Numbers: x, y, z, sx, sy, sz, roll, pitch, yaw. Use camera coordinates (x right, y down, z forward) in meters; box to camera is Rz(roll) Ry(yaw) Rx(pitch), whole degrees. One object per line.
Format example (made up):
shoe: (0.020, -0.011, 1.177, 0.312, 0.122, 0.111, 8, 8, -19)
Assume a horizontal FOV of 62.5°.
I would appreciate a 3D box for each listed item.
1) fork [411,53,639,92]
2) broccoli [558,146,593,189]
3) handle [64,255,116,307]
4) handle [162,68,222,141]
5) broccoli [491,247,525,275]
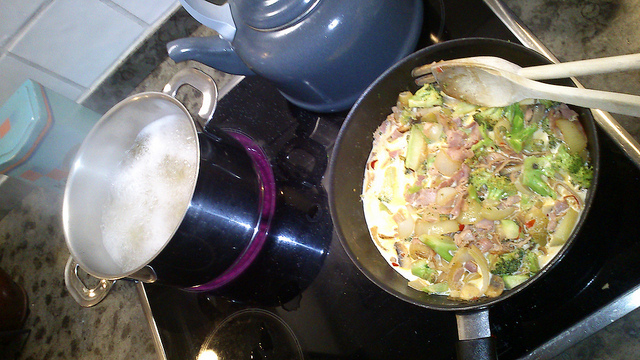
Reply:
fork: (0.511, -0.267, 1.309, 0.466, 0.053, 0.088, 6, 43, 31)
broccoli: (0.639, -0.029, 1.320, 0.098, 0.023, 0.059, 51, 123, 19)
handle: (-0.728, 0.312, 1.690, 0.160, 0.034, 0.196, 42, 103, 28)
handle: (-0.322, -0.216, 1.474, 0.153, 0.038, 0.221, -35, 80, 32)
broccoli: (0.483, 0.206, 1.343, 0.091, 0.031, 0.050, -32, 72, 0)
